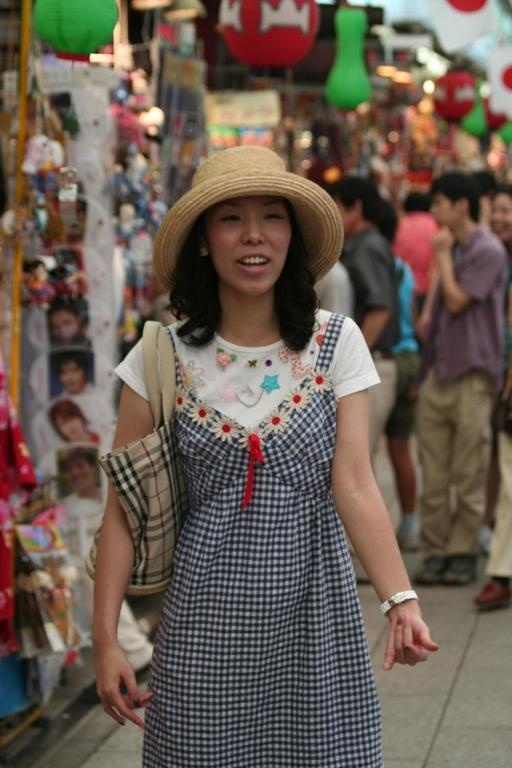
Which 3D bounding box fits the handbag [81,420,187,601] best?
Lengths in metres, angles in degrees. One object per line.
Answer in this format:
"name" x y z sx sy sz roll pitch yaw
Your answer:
"handbag" -0.233 0.220 1.424 0.191 0.286 0.088 2 6 -41
